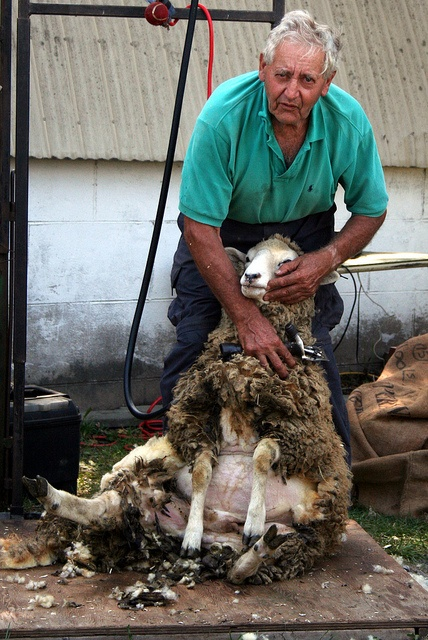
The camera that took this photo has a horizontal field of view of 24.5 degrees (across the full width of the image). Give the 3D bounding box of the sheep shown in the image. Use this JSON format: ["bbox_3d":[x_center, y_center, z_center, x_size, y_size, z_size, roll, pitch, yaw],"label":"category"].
[{"bbox_3d":[-0.004,0.335,4.281,1.402,1.392,1.153,12,-17,-21],"label":"sheep"}]
